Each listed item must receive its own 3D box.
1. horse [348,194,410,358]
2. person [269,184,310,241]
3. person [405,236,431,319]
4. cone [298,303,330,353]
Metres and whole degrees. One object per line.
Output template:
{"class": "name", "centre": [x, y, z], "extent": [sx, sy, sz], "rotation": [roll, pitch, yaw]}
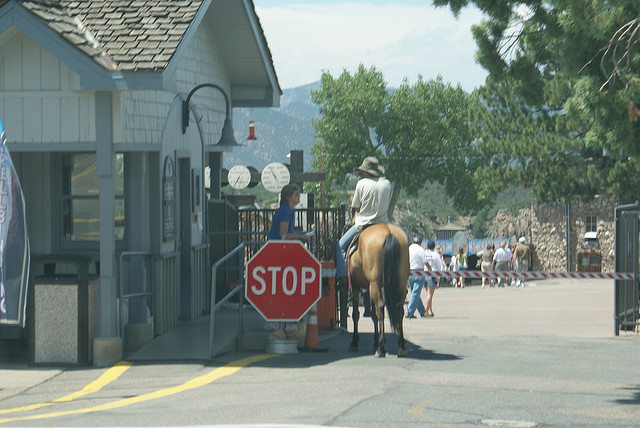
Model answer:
{"class": "horse", "centre": [1.148, 1.425, 30.446], "extent": [0.934, 3.484, 3.951], "rotation": [0, -4, -13]}
{"class": "person", "centre": [-0.733, -0.040, 29.853], "extent": [0.830, 1.249, 0.669], "rotation": [-1, 2, -14]}
{"class": "person", "centre": [2.636, 1.695, 37.180], "extent": [0.671, 2.353, 0.861], "rotation": [4, 5, 23]}
{"class": "cone", "centre": [-0.199, 2.524, 30.057], "extent": [0.579, 1.122, 0.574], "rotation": [-3, -2, 43]}
